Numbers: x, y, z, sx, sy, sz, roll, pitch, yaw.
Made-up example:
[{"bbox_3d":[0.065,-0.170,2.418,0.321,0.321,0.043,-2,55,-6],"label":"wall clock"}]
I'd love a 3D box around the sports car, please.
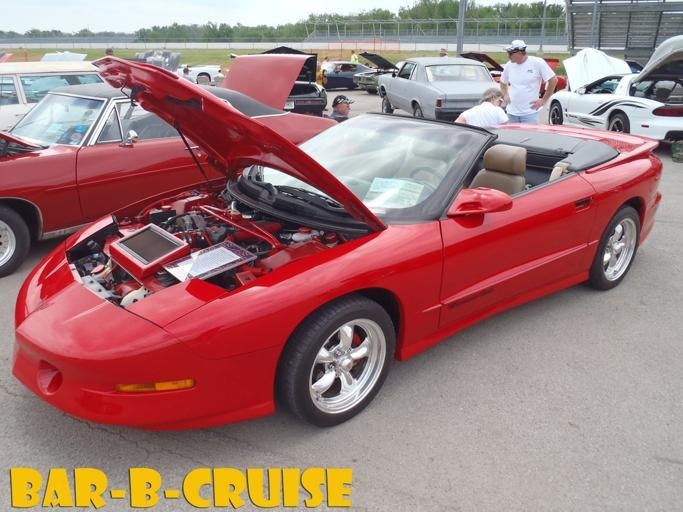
[{"bbox_3d":[0.459,-0.174,4.086,5.589,1.688,2.268,-11,24,-27],"label":"sports car"}]
